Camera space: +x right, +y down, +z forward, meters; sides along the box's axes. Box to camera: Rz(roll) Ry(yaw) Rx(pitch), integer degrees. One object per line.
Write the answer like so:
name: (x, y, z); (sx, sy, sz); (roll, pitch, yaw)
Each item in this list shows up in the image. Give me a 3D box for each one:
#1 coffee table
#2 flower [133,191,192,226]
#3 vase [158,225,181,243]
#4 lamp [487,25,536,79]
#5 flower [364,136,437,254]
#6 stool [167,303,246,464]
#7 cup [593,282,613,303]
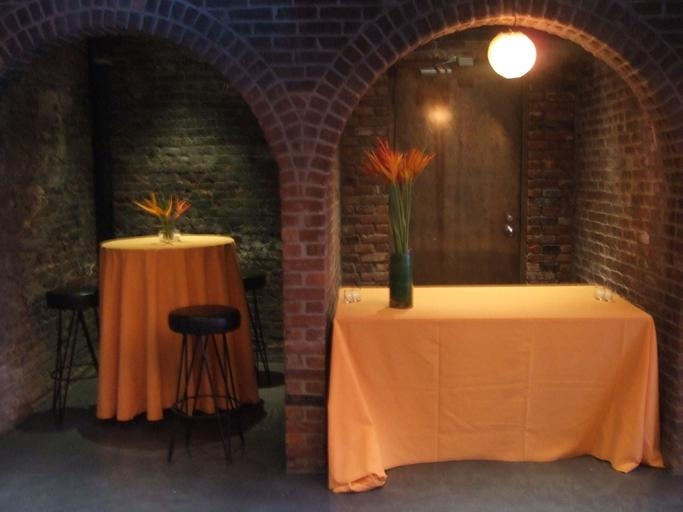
coffee table: (-1.420, 0.601, 5.295); (1.142, 1.460, 1.117); (2, 1, 39)
flower: (-1.742, -0.490, 6.040); (0.318, 0.285, 0.367); (2, 7, 27)
vase: (-1.486, -0.181, 5.300); (0.146, 0.140, 0.165); (1, 0, 12)
lamp: (1.225, -1.470, 4.455); (0.282, 0.368, 0.315); (-1, 10, -1)
flower: (0.444, -0.385, 4.420); (0.445, 0.869, 0.461); (-5, 2, 1)
stool: (-1.047, 0.951, 4.769); (0.617, 1.146, 0.611); (-4, 7, -44)
cup: (1.943, 0.268, 4.573); (0.104, 0.100, 0.117); (0, 3, 6)
